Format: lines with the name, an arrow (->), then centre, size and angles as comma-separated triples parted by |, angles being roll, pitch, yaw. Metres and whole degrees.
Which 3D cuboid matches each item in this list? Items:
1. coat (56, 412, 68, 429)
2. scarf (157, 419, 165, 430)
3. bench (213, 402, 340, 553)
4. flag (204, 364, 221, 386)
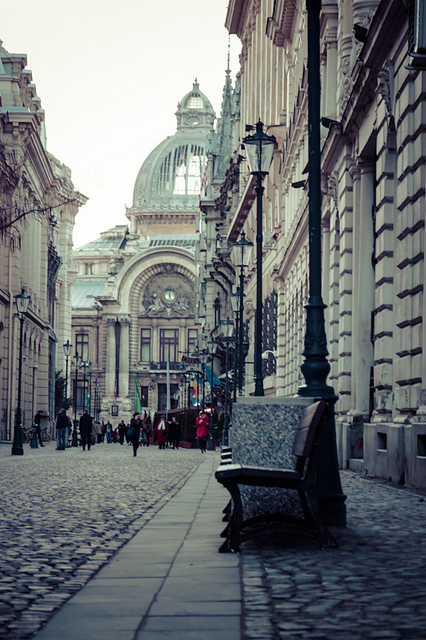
coat -> -6.368, 4.245, 38.797 | 0.449, 0.629, 1.556 | 1, -9, -10
scarf -> -2.871, 5.803, 51.187 | 0.396, 0.563, 0.310 | 3, -14, -7
bench -> 0.467, 1.147, 6.878 | 0.734, 1.096, 1.359 | 1, -7, 4
flag -> -0.060, 3.802, 64.018 | 0.179, 1.116, 2.349 | -12, 6, -9
